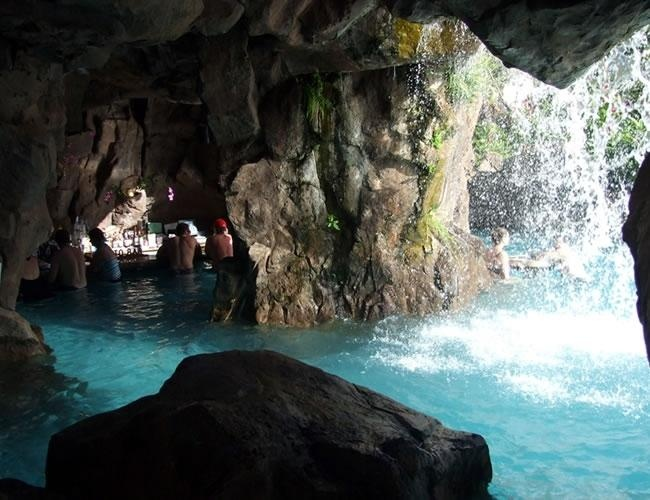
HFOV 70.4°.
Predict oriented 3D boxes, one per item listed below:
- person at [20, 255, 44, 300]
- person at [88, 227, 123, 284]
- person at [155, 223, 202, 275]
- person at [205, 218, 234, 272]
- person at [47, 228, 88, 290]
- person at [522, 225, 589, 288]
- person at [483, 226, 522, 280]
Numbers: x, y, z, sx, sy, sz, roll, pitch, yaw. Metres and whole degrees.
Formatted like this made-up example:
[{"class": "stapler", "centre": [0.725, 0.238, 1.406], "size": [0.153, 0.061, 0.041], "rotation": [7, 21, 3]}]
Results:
[{"class": "person", "centre": [-5.396, 0.460, 8.419], "size": [0.370, 0.712, 0.684], "rotation": [-8, 14, -35]}, {"class": "person", "centre": [-4.715, 0.053, 9.766], "size": [0.674, 1.222, 0.614], "rotation": [7, 29, -9]}, {"class": "person", "centre": [-3.466, 0.114, 11.200], "size": [0.762, 1.693, 0.961], "rotation": [15, 18, 35]}, {"class": "person", "centre": [-2.317, -0.096, 10.180], "size": [0.527, 1.133, 1.000], "rotation": [-3, 12, -15]}, {"class": "person", "centre": [-4.914, 0.192, 8.766], "size": [0.475, 1.177, 0.550], "rotation": [-1, 11, -4]}, {"class": "person", "centre": [5.225, 0.443, 10.460], "size": [1.048, 0.335, 1.034], "rotation": [43, 42, 17]}, {"class": "person", "centre": [4.503, 0.076, 11.594], "size": [0.817, 1.472, 0.826], "rotation": [-32, 41, -28]}]
